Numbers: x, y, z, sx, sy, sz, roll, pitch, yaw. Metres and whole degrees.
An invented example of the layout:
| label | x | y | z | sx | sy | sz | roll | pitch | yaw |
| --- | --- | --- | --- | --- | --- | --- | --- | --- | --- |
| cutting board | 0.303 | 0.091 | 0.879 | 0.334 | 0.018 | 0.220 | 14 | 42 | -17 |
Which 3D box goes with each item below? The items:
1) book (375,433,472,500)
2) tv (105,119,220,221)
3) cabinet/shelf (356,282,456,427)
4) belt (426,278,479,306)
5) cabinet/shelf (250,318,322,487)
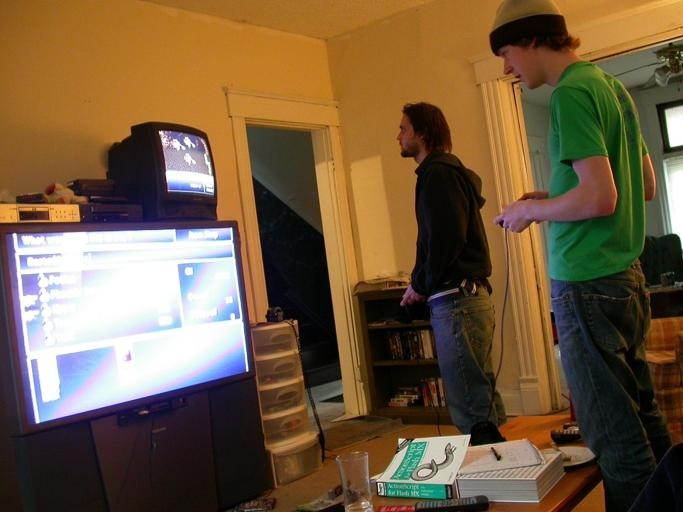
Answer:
| label | x | y | z | sx | sy | sz | roll | pitch | yaw |
| --- | --- | --- | --- | --- | --- | --- | --- | --- | --- |
| book | 0.297 | 0.756 | 2.085 | 0.323 | 0.217 | 0.201 | -9 | -1 | 32 |
| tv | -1.147 | -0.441 | 3.660 | 0.592 | 0.685 | 0.612 | -3 | 0 | 36 |
| cabinet/shelf | 0.716 | 0.788 | 4.759 | 1.073 | 1.109 | 0.336 | -12 | -11 | 33 |
| belt | 0.581 | 0.202 | 2.900 | 0.156 | 0.052 | 0.120 | -24 | -14 | 14 |
| cabinet/shelf | -0.401 | 1.038 | 3.857 | 0.450 | 0.824 | 0.478 | -5 | 4 | 30 |
